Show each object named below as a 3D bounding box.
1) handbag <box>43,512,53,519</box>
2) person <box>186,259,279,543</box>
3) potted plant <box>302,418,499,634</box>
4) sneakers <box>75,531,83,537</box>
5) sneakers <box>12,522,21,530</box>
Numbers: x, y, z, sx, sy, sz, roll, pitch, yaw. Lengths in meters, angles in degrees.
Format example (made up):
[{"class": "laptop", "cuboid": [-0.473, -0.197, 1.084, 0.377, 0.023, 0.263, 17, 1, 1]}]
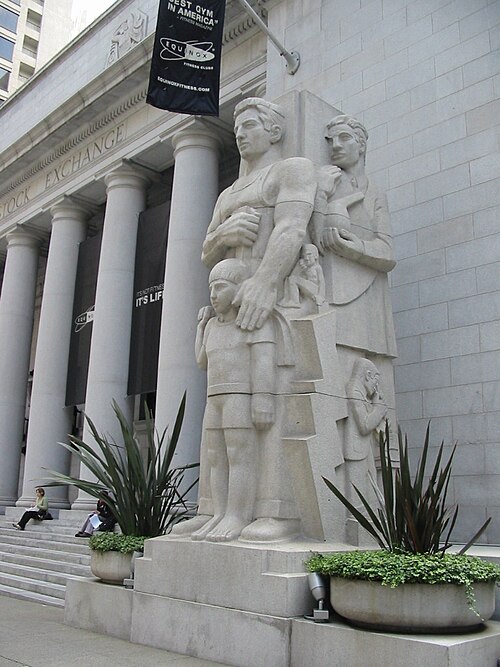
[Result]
[{"class": "handbag", "cuboid": [-4.997, 4.529, 13.999, 0.165, 0.104, 0.167, -5, -8, 25]}, {"class": "person", "cuboid": [-0.198, 0.445, 4.684, 0.475, 2.353, 0.869, 10, -18, -27]}, {"class": "potted plant", "cuboid": [0.956, 1.192, 3.389, 1.123, 1.175, 1.302, 6, -15, -12]}, {"class": "sneakers", "cuboid": [-3.377, 3.983, 11.202, 0.103, 0.139, 0.200, 7, -8, -24]}, {"class": "sneakers", "cuboid": [-5.564, 4.646, 13.587, 0.098, 0.131, 0.304, 1, -16, -11]}]
